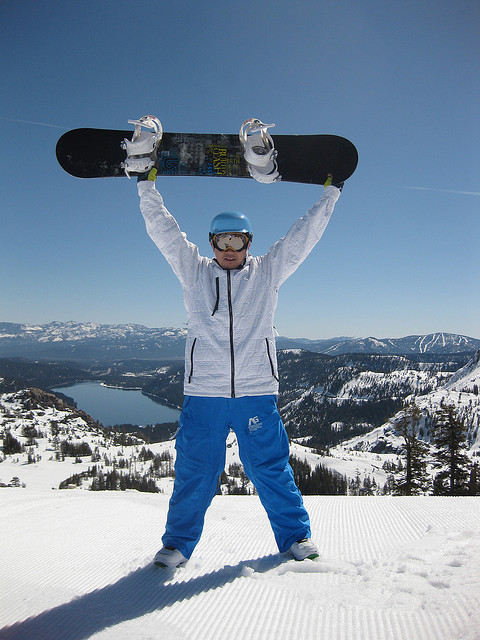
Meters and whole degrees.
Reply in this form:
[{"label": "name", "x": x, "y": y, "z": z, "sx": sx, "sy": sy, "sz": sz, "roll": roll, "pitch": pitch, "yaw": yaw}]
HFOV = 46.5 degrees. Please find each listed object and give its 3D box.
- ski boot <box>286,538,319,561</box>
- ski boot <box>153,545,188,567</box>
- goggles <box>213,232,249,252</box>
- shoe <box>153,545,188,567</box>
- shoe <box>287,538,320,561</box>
[{"label": "ski boot", "x": 0.466, "y": 1.685, "z": 4.098, "sx": 0.088, "sy": 0.100, "sz": 0.234, "roll": 7, "pitch": -27, "yaw": -24}, {"label": "ski boot", "x": -0.513, "y": 1.710, "z": 4.044, "sx": 0.216, "sy": 0.092, "sz": 0.116, "roll": -1, "pitch": -18, "yaw": 17}, {"label": "goggles", "x": -0.087, "y": -0.616, "z": 4.484, "sx": 0.269, "sy": 0.156, "sz": 0.099, "roll": 2, "pitch": -5, "yaw": -3}, {"label": "shoe", "x": -0.510, "y": 1.713, "z": 4.051, "sx": 0.227, "sy": 0.096, "sz": 0.112, "roll": -4, "pitch": -15, "yaw": 31}, {"label": "shoe", "x": 0.468, "y": 1.681, "z": 4.081, "sx": 0.152, "sy": 0.112, "sz": 0.187, "roll": 3, "pitch": -5, "yaw": -14}]
